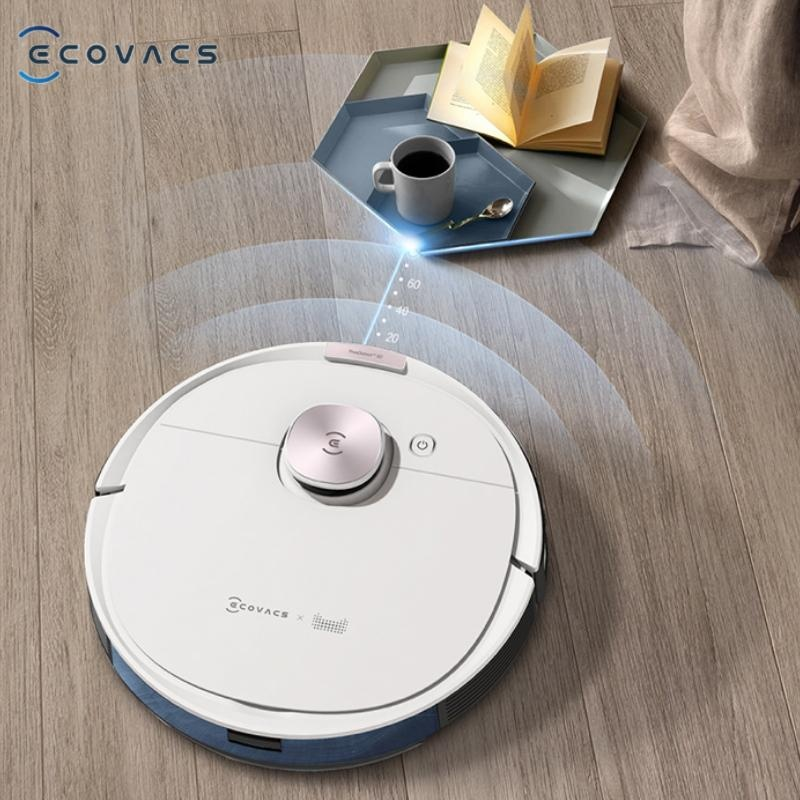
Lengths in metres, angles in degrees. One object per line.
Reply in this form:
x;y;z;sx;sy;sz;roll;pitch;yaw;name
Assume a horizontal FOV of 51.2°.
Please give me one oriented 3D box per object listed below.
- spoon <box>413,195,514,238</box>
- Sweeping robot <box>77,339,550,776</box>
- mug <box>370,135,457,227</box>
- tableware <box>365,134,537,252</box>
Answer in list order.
0.097;-0.270;1.315;0.165;0.026;0.046;-21;74;13;spoon
-0.098;0.141;0.949;0.525;0.117;0.497;17;62;3;Sweeping robot
0.014;-0.325;1.236;0.112;0.096;0.089;2;54;8;mug
0.085;-0.307;1.264;0.194;0.050;0.212;-27;71;-13;tableware
